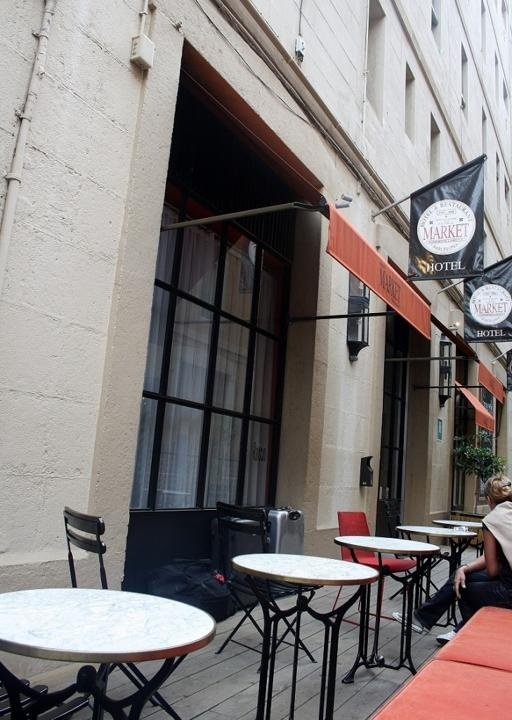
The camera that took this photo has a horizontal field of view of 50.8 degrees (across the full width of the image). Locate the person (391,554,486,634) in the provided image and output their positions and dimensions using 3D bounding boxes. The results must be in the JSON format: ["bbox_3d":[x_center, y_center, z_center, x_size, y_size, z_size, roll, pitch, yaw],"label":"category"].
[{"bbox_3d":[1.416,1.734,4.013,0.266,0.425,0.886,13,-38,-38],"label":"person"}]

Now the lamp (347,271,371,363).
[{"bbox_3d":[1.312,-0.568,7.018,0.267,1.178,0.846,0,-7,14],"label":"lamp"}]
